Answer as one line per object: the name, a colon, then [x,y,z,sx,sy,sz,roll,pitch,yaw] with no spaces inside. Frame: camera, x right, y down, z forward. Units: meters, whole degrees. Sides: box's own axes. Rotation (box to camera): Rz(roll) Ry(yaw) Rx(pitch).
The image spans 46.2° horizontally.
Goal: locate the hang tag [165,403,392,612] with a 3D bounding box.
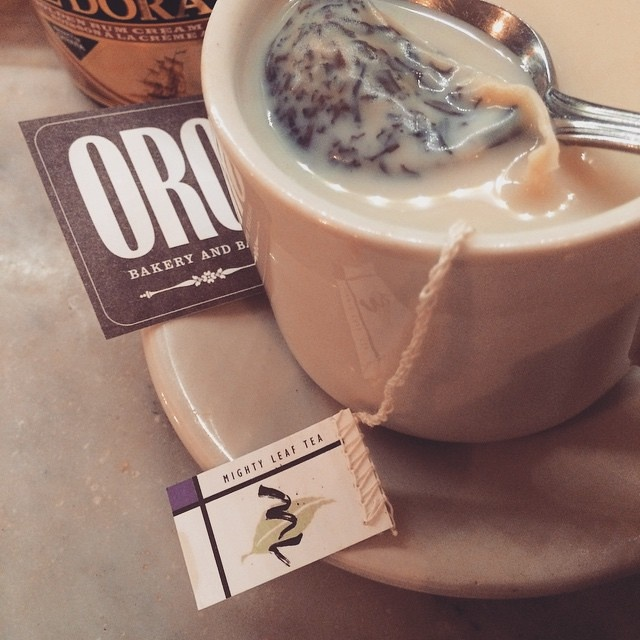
hang tag: [-0.028,0.125,0.503,0.158,0.058,0.083,-21,63,-19]
